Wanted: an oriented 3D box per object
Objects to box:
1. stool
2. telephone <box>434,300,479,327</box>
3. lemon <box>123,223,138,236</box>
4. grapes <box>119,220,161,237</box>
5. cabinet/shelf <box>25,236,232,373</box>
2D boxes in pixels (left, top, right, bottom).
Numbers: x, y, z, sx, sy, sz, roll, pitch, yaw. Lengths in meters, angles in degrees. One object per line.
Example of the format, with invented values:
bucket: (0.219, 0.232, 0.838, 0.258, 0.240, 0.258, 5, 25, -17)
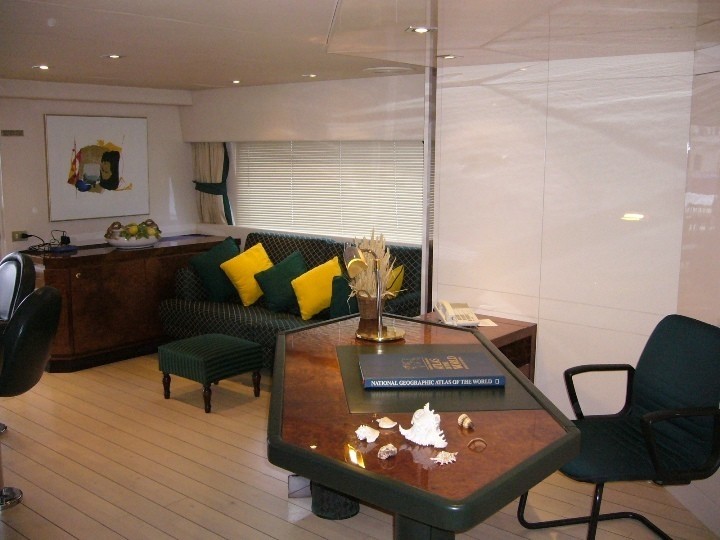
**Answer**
stool: (-1.265, 0.841, 4.541, 0.694, 0.454, 0.694, 10, 10, 41)
telephone: (0.655, 0.279, 3.643, 0.202, 0.075, 0.243, -1, 7, -11)
lemon: (-2.411, -0.413, 5.548, 0.156, 0.123, 0.109, -3, 13, -14)
grapes: (-2.328, -0.423, 5.599, 0.277, 0.103, 0.277, 2, 2, 43)
cabinet/shelf: (-2.182, 0.349, 4.973, 0.445, 0.622, 1.375, 12, 18, 37)
